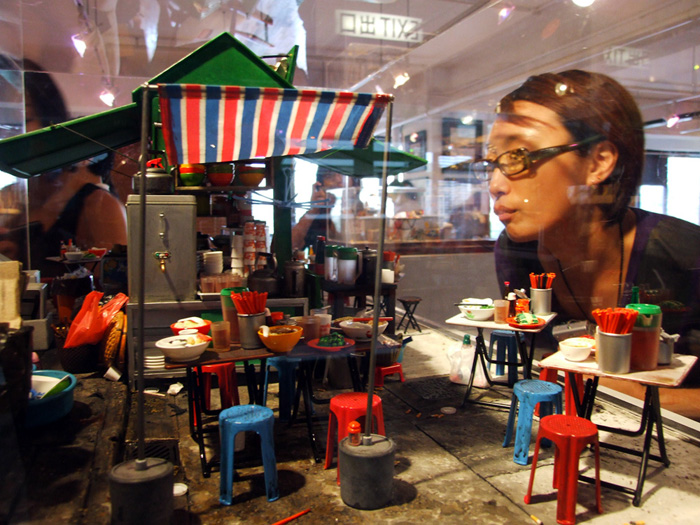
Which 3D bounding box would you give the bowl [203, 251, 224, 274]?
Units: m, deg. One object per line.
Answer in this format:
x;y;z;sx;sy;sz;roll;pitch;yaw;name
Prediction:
-1.305;-0.004;5.339;0.223;0.197;0.215;2;6;0;bowl

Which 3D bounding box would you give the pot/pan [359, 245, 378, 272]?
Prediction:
0.170;-0.031;5.488;0.226;0.310;0.229;1;4;14;pot/pan

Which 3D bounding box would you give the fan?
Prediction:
-0.684;-0.870;5.919;0.794;0.460;0.423;-3;38;3;fan

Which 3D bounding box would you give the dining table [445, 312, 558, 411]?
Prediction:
1.416;0.822;5.197;1.076;0.853;0.975;3;5;38;dining table

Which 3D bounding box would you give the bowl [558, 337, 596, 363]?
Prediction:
1.553;0.594;3.794;0.204;0.083;0.169;1;-1;-35;bowl

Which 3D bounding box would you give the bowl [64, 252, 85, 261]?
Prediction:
-3.154;-0.069;6.418;0.152;0.056;0.138;1;-2;-3;bowl

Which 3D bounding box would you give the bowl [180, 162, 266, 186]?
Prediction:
-1.256;-0.871;5.542;0.856;0.259;0.202;-3;15;-11;bowl

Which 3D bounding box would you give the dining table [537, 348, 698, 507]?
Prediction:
1.841;1.096;4.074;1.201;0.963;1.095;-2;-3;39;dining table

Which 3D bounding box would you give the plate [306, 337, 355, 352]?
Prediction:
-0.141;0.572;3.914;0.340;0.061;0.170;1;13;6;plate

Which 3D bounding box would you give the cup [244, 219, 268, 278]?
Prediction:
-0.917;-0.165;5.461;0.202;0.496;0.395;1;15;5;cup

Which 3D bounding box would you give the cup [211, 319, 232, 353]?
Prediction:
-0.880;0.493;3.807;0.159;0.183;0.130;12;19;41;cup

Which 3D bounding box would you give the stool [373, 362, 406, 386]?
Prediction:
0.358;1.097;5.484;0.260;0.150;0.257;1;-8;-45;stool

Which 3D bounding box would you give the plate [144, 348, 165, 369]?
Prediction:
-1.279;0.631;3.654;0.140;0.050;0.154;1;3;-10;plate

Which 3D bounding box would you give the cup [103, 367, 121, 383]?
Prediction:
-2.149;1.011;5.048;0.135;0.109;0.119;-8;16;-28;cup

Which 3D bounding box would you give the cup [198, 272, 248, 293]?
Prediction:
-1.195;0.187;5.216;0.424;0.147;0.141;-5;15;-19;cup

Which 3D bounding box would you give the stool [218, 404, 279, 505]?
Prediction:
-0.707;1.293;3.796;0.395;0.568;0.361;-4;15;-11;stool

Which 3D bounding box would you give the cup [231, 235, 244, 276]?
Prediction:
-1.108;-0.084;5.362;0.166;0.383;0.083;6;17;24;cup

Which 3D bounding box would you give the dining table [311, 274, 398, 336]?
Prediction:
0.079;0.406;5.451;0.683;0.544;0.625;0;2;-17;dining table

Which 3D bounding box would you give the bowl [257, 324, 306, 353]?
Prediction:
-0.479;0.506;3.771;0.240;0.124;0.223;0;-2;0;bowl
